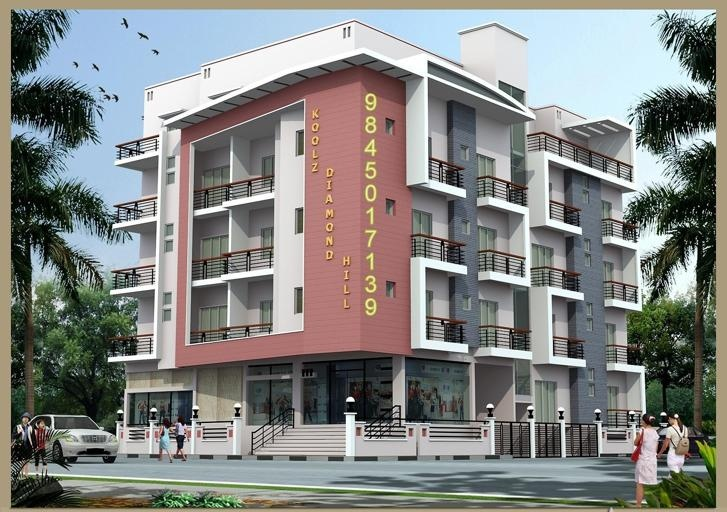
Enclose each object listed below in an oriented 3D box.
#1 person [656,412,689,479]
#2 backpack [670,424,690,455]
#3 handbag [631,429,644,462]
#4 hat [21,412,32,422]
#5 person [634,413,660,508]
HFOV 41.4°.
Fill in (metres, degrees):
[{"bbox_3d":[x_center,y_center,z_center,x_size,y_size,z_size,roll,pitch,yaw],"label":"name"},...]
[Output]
[{"bbox_3d":[8.327,5.290,25.928,0.933,2.244,0.889,-3,8,-4],"label":"person"},{"bbox_3d":[8.505,4.914,25.743,0.341,0.789,0.628,-11,-20,33],"label":"backpack"},{"bbox_3d":[6.777,4.703,23.808,0.218,0.808,0.476,9,3,17],"label":"handbag"},{"bbox_3d":[-11.297,5.361,32.310,0.315,0.297,0.391,5,-11,-35],"label":"hat"},{"bbox_3d":[6.950,5.124,23.673,0.615,1.924,1.102,-4,-17,15],"label":"person"}]
